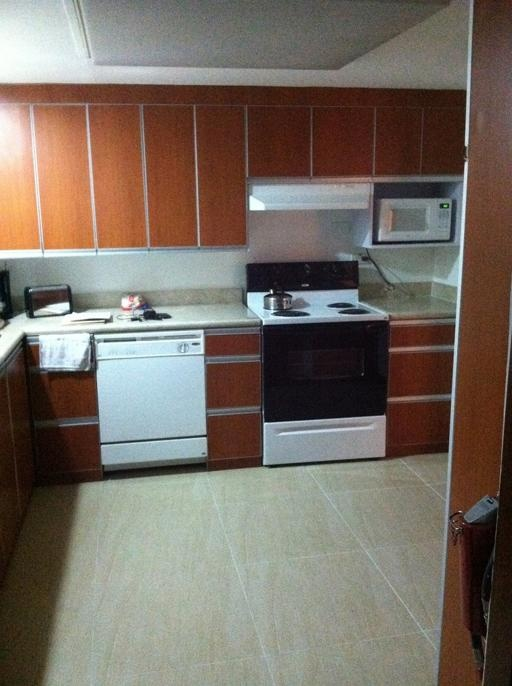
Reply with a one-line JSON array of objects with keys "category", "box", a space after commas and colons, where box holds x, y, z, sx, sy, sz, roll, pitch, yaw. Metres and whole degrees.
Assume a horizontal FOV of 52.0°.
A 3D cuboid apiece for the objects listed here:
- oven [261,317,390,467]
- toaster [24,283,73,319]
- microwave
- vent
[{"category": "oven", "box": [0.416, 0.158, 3.437, 0.759, 1.048, 0.681, -5, 27, -3]}, {"category": "toaster", "box": [-1.288, -0.262, 3.253, 0.301, 0.261, 0.175, -4, 8, -25]}, {"category": "microwave", "box": [0.990, -0.766, 3.317, 0.479, 0.277, 0.243, 2, 9, 16]}, {"category": "vent", "box": [0.342, -0.899, 3.211, 0.766, 0.172, 0.206, -4, 10, -17]}]
